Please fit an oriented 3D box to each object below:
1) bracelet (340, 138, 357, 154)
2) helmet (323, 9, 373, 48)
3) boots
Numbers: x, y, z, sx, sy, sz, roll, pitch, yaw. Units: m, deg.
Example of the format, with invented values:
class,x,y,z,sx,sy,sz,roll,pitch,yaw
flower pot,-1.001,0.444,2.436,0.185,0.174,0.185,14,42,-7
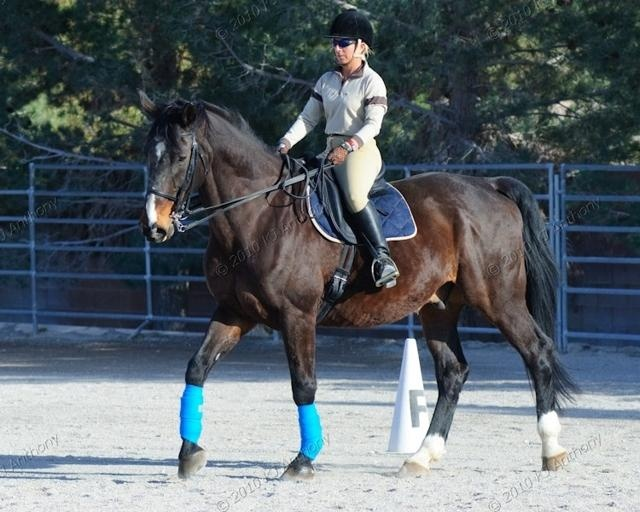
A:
class,x,y,z,sx,sy,sz,roll,pitch,yaw
bracelet,0.311,-1.177,15.674,0.183,0.117,0.176,26,33,29
helmet,0.331,-2.479,15.928,0.493,0.273,0.339,12,8,-21
boots,0.597,-0.121,15.740,0.469,0.921,0.183,0,1,27
